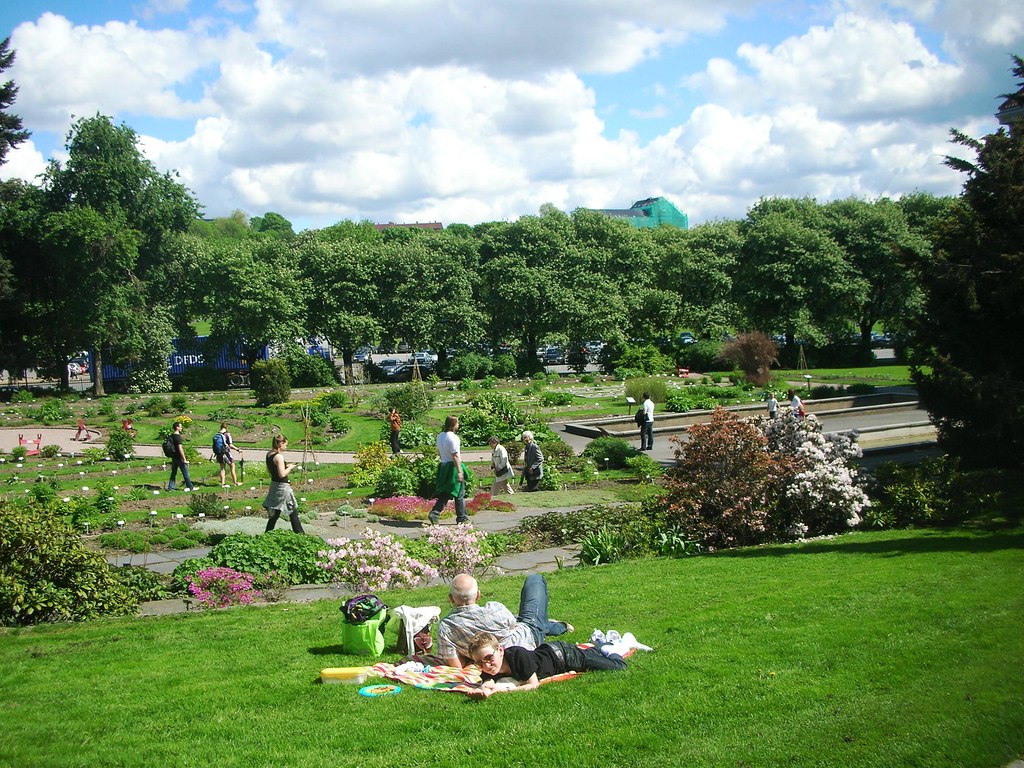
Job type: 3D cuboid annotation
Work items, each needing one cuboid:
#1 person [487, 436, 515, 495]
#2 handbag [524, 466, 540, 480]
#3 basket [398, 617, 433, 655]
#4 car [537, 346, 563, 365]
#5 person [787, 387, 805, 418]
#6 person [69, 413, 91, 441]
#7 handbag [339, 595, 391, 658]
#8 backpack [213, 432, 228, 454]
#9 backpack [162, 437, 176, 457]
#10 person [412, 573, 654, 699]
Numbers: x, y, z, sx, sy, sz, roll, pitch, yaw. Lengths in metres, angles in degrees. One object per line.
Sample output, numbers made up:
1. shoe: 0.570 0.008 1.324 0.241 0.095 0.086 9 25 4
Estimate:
1. person: -0.221 2.003 26.355 0.485 1.432 1.222 -1 14 -1
2. handbag: 0.520 2.119 26.854 0.325 0.257 0.328 -2 4 -22
3. basket: -1.244 3.358 14.834 0.472 0.517 0.425 -5 -7 42
4. car: 2.965 -2.133 81.441 1.441 1.118 2.229 0 -3 -2
5. person: 8.465 0.489 32.967 0.343 0.345 1.080 5 30 4
6. person: -14.929 1.484 38.330 0.855 0.958 0.876 1 0 -9
7. handbag: -1.951 3.203 15.138 0.742 0.830 0.699 -3 6 -29
8. backpack: -7.307 1.480 27.831 0.331 0.608 0.205 4 15 20
9. backpack: -8.352 1.523 26.990 0.212 0.448 0.428 -7 15 -23
10. person: 0.078 3.133 14.367 2.583 1.183 1.243 -4 14 -13
